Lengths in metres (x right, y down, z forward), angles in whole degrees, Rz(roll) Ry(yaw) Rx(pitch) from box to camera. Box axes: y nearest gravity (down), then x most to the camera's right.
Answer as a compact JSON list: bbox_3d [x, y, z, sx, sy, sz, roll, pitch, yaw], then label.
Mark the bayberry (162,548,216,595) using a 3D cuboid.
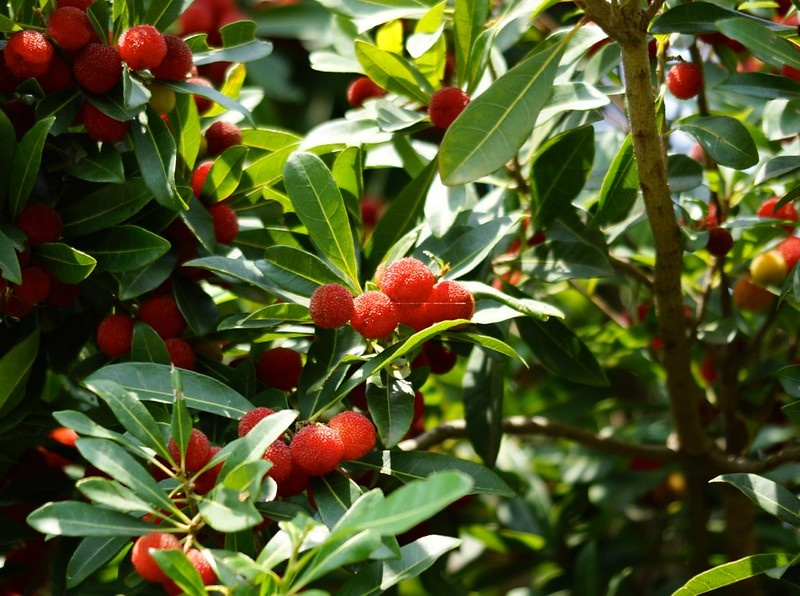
[{"bbox_3d":[-0.218,0.283,0.876,0.044,0.031,0.055,-29,19,24],"label":"bayberry"}]
